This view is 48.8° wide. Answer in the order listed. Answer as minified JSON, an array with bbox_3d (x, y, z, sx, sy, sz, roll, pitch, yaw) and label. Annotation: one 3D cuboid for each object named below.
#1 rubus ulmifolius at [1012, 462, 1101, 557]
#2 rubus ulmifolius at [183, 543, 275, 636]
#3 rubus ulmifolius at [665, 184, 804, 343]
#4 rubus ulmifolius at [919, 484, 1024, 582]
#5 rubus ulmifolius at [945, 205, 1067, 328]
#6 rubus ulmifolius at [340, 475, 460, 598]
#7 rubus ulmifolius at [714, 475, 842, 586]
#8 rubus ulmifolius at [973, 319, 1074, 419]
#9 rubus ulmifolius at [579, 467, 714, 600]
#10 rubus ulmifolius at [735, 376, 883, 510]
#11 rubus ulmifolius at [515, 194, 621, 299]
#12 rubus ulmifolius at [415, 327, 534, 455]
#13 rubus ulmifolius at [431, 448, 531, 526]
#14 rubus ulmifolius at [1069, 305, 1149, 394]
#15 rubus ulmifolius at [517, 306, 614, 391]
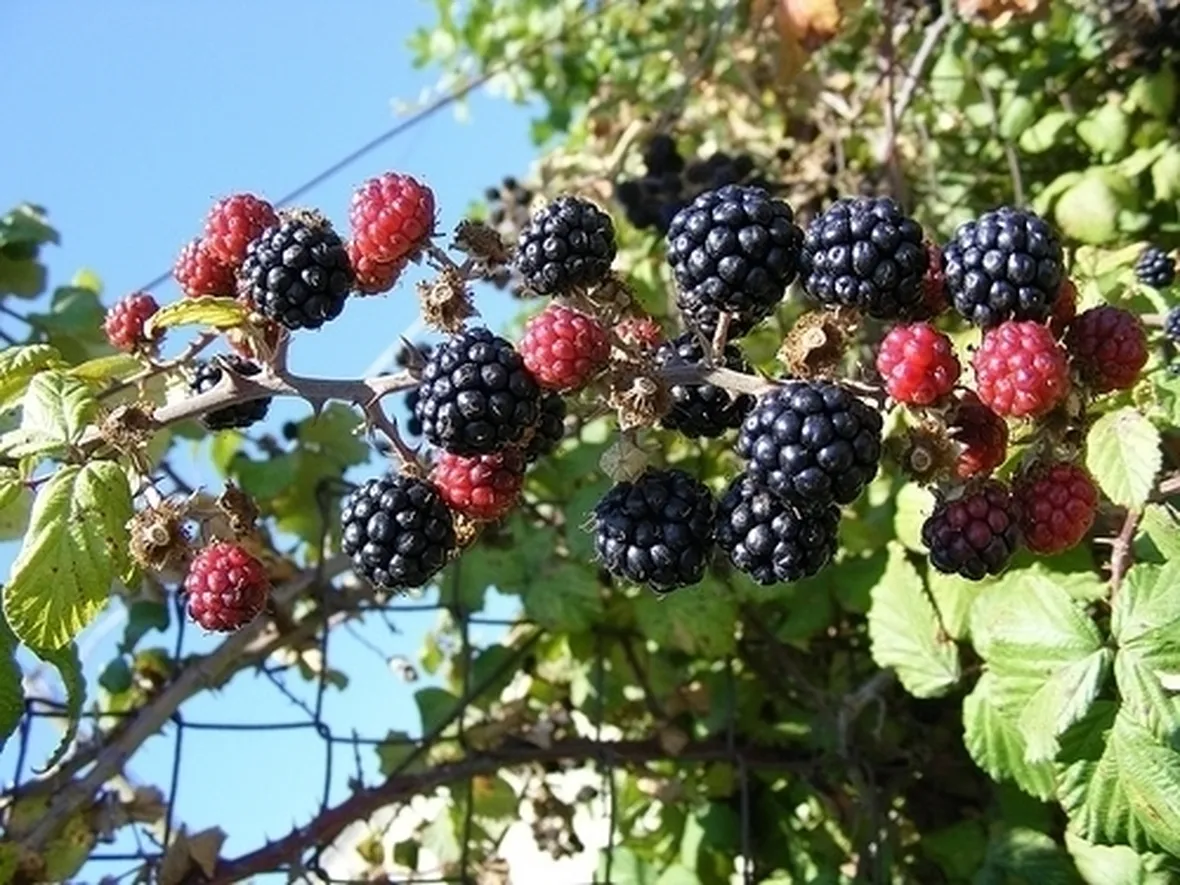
[{"bbox_3d":[1.125,0.141,3.166,0.188,0.186,0.182,0,-54,0],"label":"rubus ulmifolius"},{"bbox_3d":[-0.916,0.367,3.281,0.199,0.212,0.188,23,-57,-16],"label":"rubus ulmifolius"},{"bbox_3d":[0.362,-0.432,3.164,0.334,0.222,0.325,-15,-56,10],"label":"rubus ulmifolius"},{"bbox_3d":[0.928,0.212,3.141,0.155,0.222,0.152,38,-81,-11],"label":"rubus ulmifolius"},{"bbox_3d":[0.974,-0.408,3.051,0.272,0.208,0.227,-1,-54,0],"label":"rubus ulmifolius"},{"bbox_3d":[-0.470,0.241,3.279,0.260,0.279,0.329,15,-72,37],"label":"rubus ulmifolius"},{"bbox_3d":[0.435,0.215,3.080,0.238,0.170,0.278,-30,-101,6],"label":"rubus ulmifolius"},{"bbox_3d":[0.988,-0.182,3.022,0.215,0.203,0.225,16,-57,31],"label":"rubus ulmifolius"},{"bbox_3d":[0.155,0.215,3.180,0.302,0.229,0.238,-23,-57,15],"label":"rubus ulmifolius"},{"bbox_3d":[0.515,0.001,2.973,0.269,0.223,0.308,3,-90,13],"label":"rubus ulmifolius"},{"bbox_3d":[-0.052,-0.501,3.308,0.246,0.350,0.233,-17,-88,6],"label":"rubus ulmifolius"},{"bbox_3d":[-0.279,-0.070,3.203,0.273,0.374,0.299,1,-100,-12],"label":"rubus ulmifolius"},{"bbox_3d":[-0.264,0.076,3.258,0.172,0.194,0.254,-14,-69,-36],"label":"rubus ulmifolius"},{"bbox_3d":[1.218,-0.224,3.075,0.168,0.188,0.243,-1,-85,11],"label":"rubus ulmifolius"},{"bbox_3d":[-0.049,-0.236,3.198,0.206,0.196,0.267,-10,-101,8],"label":"rubus ulmifolius"}]
